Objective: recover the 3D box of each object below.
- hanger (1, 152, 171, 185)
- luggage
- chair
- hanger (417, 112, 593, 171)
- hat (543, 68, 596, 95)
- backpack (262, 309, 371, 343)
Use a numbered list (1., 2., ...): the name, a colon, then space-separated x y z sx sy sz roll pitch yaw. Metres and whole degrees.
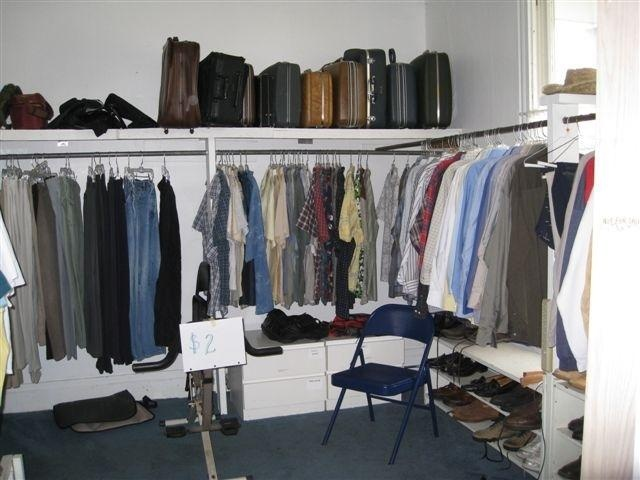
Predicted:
1. hanger: -1.867 -0.600 4.681 1.213 0.176 0.410 -5 11 -17
2. luggage: -0.069 -1.136 4.468 2.266 0.644 0.333 -6 11 -22
3. chair: 0.458 0.952 4.160 0.702 1.007 0.781 1 0 -20
4. hanger: 1.135 -0.678 3.854 0.360 0.225 1.619 -3 11 -12
5. hat: 1.409 -0.895 3.382 0.265 0.150 0.254 2 11 16
6. backpack: -0.082 0.701 4.773 0.460 0.166 0.398 0 -2 -15
